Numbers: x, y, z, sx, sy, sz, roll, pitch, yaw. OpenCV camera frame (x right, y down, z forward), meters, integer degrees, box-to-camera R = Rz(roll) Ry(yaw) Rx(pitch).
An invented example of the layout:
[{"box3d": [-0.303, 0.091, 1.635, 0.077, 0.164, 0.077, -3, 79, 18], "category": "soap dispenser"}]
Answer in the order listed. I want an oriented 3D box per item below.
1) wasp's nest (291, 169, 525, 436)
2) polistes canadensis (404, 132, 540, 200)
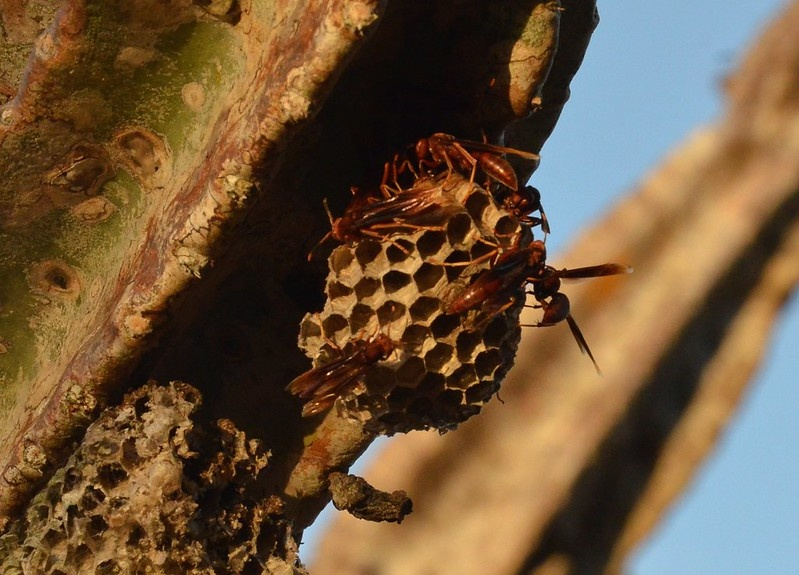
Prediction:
[{"box3d": [0.064, 0.021, 7.269, 0.905, 1.042, 0.479, -4, 12, -4], "category": "wasp's nest"}, {"box3d": [0.290, -0.553, 7.093, 0.385, 0.135, 0.274, 18, -15, -9], "category": "polistes canadensis"}]
